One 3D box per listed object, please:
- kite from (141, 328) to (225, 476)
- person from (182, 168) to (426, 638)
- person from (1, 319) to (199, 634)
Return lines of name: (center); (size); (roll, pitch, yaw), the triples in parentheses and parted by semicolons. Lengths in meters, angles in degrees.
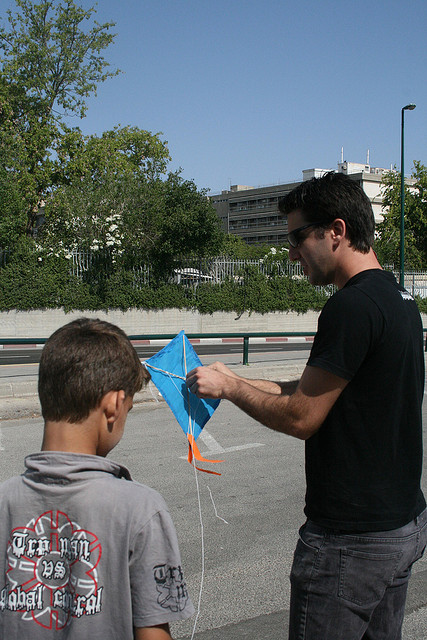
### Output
kite: (-0.147, 0.289, 2.315); (0.372, 0.584, 0.422); (0, 5, -27)
person: (0.350, 0.215, 1.655); (0.404, 1.378, 0.510); (-1, 4, -43)
person: (-0.277, 0.446, 1.317); (0.471, 0.881, 0.403); (2, 3, -2)
